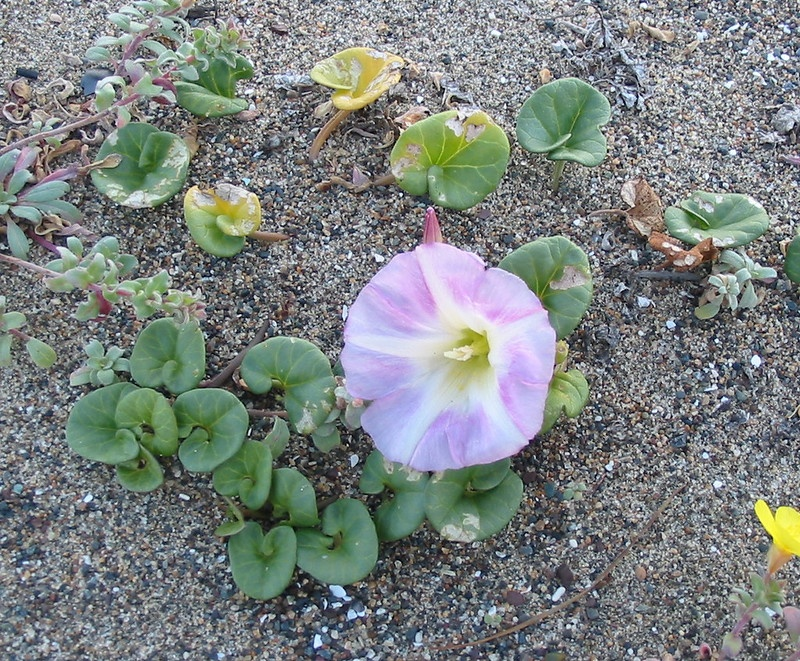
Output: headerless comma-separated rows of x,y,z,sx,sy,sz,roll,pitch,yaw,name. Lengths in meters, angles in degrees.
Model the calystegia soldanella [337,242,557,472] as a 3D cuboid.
0.136,0.092,2.763,0.640,0.257,0.681,11,82,2,calystegia soldanella
